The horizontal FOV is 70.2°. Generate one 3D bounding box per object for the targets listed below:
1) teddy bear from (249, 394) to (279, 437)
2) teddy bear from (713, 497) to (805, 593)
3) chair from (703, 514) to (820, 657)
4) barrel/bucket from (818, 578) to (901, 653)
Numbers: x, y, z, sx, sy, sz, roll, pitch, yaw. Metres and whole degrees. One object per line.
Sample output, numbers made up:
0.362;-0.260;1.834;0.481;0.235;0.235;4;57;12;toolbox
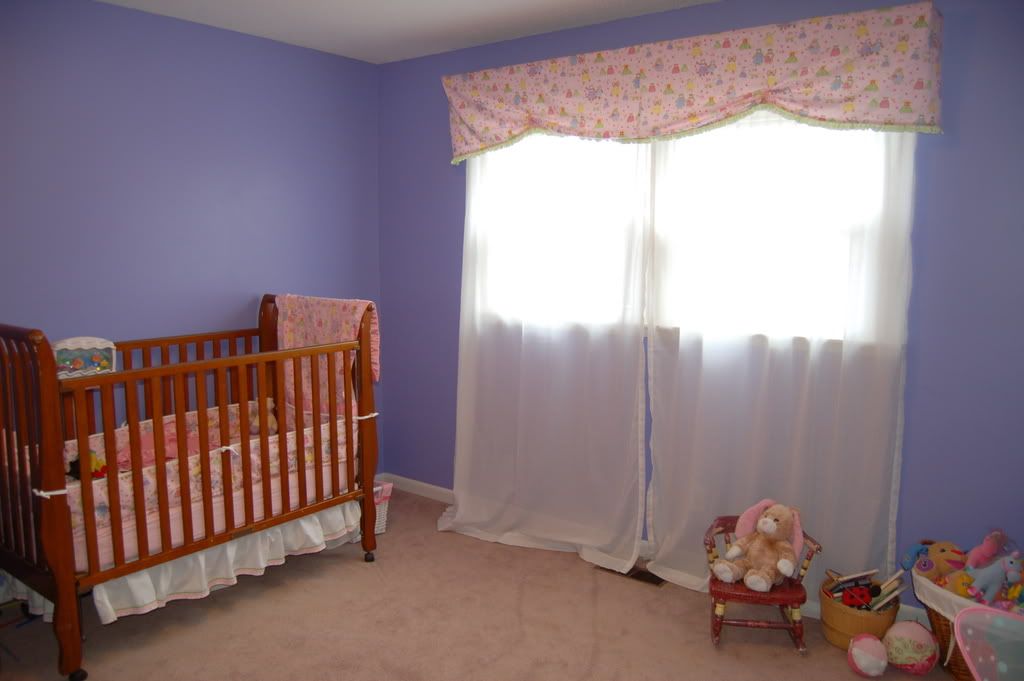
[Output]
-1.455;0.430;4.174;0.237;0.243;0.082;-4;-21;11;teddy bear
1.221;1.008;3.578;0.425;0.407;0.354;3;6;-20;teddy bear
1.238;1.209;3.649;0.483;0.596;0.530;0;1;23;chair
1.650;1.314;3.481;0.295;0.216;0.290;1;2;0;barrel/bucket
